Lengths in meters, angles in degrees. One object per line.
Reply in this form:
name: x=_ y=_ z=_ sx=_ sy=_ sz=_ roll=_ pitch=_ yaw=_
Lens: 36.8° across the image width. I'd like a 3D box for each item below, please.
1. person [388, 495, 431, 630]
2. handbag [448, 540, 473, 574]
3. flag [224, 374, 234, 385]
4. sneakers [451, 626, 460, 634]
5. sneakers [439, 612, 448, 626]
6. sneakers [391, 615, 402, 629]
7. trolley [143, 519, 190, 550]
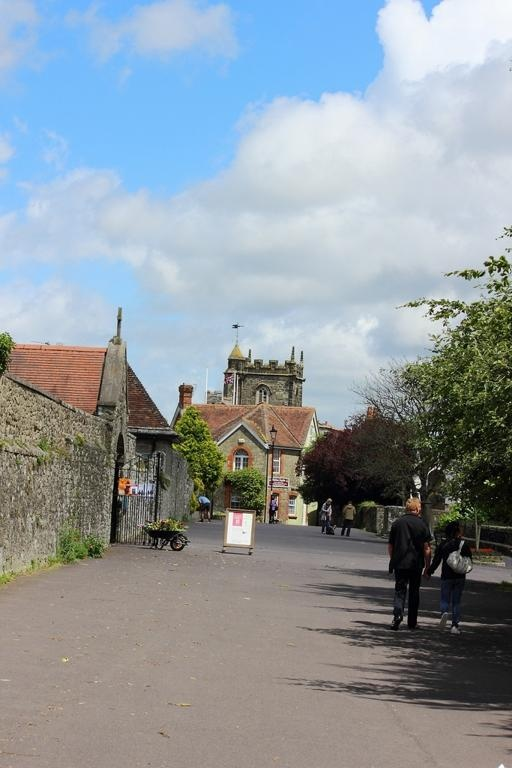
person: x=2.055 y=2.481 z=10.642 sx=0.498 sy=1.758 sz=0.910 roll=-3 pitch=-9 yaw=40
handbag: x=2.859 y=2.491 z=10.903 sx=0.355 sy=0.481 sz=0.255 roll=3 pitch=-7 yaw=-1
flag: x=-4.414 y=-0.796 z=121.606 sx=1.619 sy=1.980 sz=1.534 roll=-1 pitch=5 yaw=-1
sneakers: x=2.649 y=3.316 z=10.292 sx=0.101 sy=0.104 sz=0.262 roll=0 pitch=-10 yaw=4
sneakers: x=2.549 y=3.233 z=10.552 sx=0.095 sy=0.103 sz=0.264 roll=8 pitch=-36 yaw=7
sneakers: x=1.862 y=3.158 z=10.291 sx=0.118 sy=0.133 sz=0.333 roll=4 pitch=14 yaw=14
trolley: x=-2.682 y=4.507 z=22.839 sx=1.172 sy=0.848 sz=1.744 roll=6 pitch=-8 yaw=-28
